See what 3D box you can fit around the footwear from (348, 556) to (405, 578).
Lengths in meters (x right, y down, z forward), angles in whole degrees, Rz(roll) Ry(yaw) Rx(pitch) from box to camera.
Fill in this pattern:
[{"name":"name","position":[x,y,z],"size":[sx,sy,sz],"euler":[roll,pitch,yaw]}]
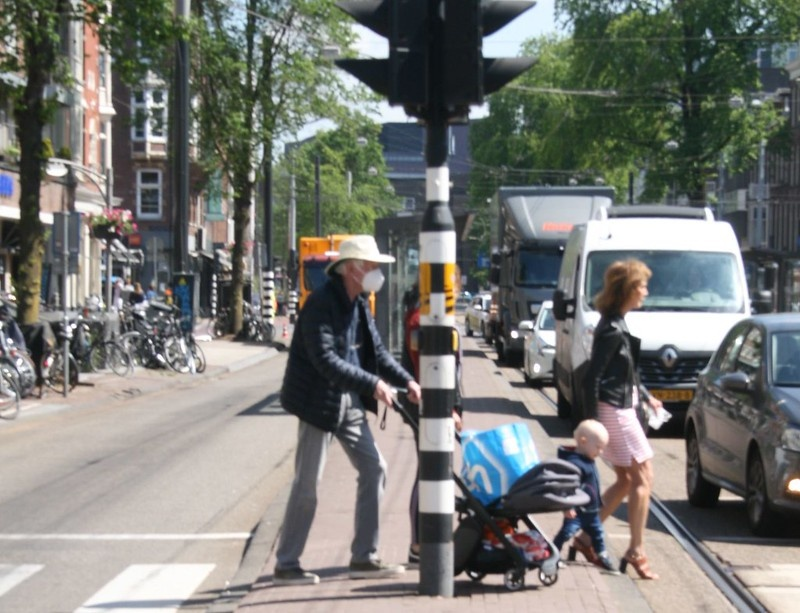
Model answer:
[{"name":"footwear","position":[-0.174,2.179,10.856],"size":[0.425,0.205,0.189],"euler":[-2,1,-3]}]

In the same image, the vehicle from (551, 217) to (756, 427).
[{"name":"vehicle","position":[3.603,-0.018,19.297],"size":[1.913,2.488,4.070],"euler":[0,-3,2]}]

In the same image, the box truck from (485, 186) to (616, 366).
[{"name":"box truck","position":[3.491,-1.151,30.445],"size":[1.712,3.236,5.749],"euler":[0,-3,-1]}]

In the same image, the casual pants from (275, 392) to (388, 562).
[{"name":"casual pants","position":[-0.553,1.386,11.035],"size":[0.872,2.150,0.488],"euler":[-2,-37,7]}]

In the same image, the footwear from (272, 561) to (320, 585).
[{"name":"footwear","position":[-0.872,2.260,10.842],"size":[0.382,0.180,0.153],"euler":[0,2,1]}]

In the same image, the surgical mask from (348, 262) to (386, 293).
[{"name":"surgical mask","position":[-0.277,-0.243,10.830],"size":[0.240,0.217,0.227],"euler":[1,4,0]}]

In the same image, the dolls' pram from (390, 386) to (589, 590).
[{"name":"dolls' pram","position":[0.807,1.660,11.226],"size":[1.654,1.873,1.147],"euler":[-2,-3,14]}]

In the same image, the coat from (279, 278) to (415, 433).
[{"name":"coat","position":[-0.205,0.355,11.007],"size":[1.211,1.432,0.984],"euler":[4,6,26]}]

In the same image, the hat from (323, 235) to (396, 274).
[{"name":"hat","position":[-0.308,-0.468,10.835],"size":[0.399,0.205,0.373],"euler":[-1,3,12]}]

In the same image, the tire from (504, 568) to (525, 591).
[{"name":"tire","position":[0.958,2.246,10.539],"size":[0.136,0.162,0.057],"euler":[12,6,14]}]

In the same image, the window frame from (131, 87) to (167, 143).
[{"name":"window frame","position":[-7.270,-5.488,36.918],"size":[0.992,1.566,1.047],"euler":[-1,6,-23]}]

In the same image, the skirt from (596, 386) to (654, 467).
[{"name":"skirt","position":[2.014,1.118,11.249],"size":[0.391,0.638,0.560],"euler":[-8,-5,39]}]
